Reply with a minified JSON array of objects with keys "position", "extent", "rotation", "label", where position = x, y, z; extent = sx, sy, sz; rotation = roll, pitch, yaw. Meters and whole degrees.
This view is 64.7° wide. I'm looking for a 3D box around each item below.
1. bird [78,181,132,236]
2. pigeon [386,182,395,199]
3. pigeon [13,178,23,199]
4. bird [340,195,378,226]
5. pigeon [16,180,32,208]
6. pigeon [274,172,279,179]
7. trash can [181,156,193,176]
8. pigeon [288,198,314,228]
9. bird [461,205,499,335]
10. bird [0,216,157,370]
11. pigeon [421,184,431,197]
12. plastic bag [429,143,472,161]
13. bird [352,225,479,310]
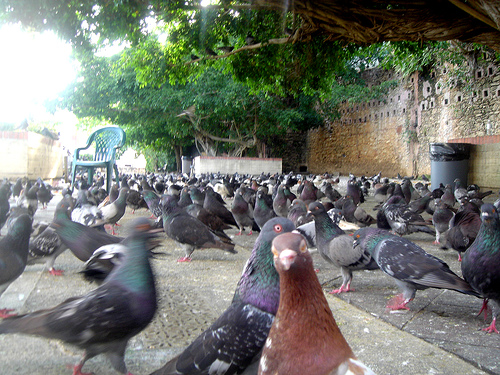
[{"position":[-2.348,0.354,6.295],"extent":[0.946,0.841,0.373],"rotation":[2,13,-30],"label":"bird"},{"position":[3.726,0.066,10.542],"extent":[0.133,0.498,0.196],"rotation":[10,-13,23],"label":"pigeon"},{"position":[-6.194,0.018,10.488],"extent":[0.176,0.338,0.558],"rotation":[9,-42,-39],"label":"pigeon"},{"position":[2.139,0.455,7.767],"extent":[0.785,0.750,0.488],"rotation":[-7,8,-19],"label":"bird"},{"position":[-5.017,0.136,8.696],"extent":[0.182,0.643,0.344],"rotation":[8,37,-37],"label":"pigeon"},{"position":[1.362,-0.667,20.837],"extent":[0.174,0.269,0.613],"rotation":[0,2,11],"label":"pigeon"},{"position":[-5.194,-1.923,32.151],"extent":[0.910,1.410,0.778],"rotation":[2,0,-11],"label":"trash can"},{"position":[0.829,0.416,6.649],"extent":[0.294,0.548,0.551],"rotation":[-6,-15,-11],"label":"pigeon"},{"position":[2.252,0.764,3.871],"extent":[0.316,1.378,0.301],"rotation":[2,0,30],"label":"bird"},{"position":[-1.220,0.841,3.038],"extent":[0.944,1.065,0.369],"rotation":[3,0,-32],"label":"bird"},{"position":[4.678,0.055,10.564],"extent":[0.128,0.451,0.183],"rotation":[27,-24,-10],"label":"pigeon"},{"position":[6.066,-1.087,11.967],"extent":[0.673,0.337,0.738],"rotation":[1,2,6],"label":"plastic bag"},{"position":[1.654,0.909,4.529],"extent":[1.537,1.002,0.615],"rotation":[-14,-6,43],"label":"bird"}]
